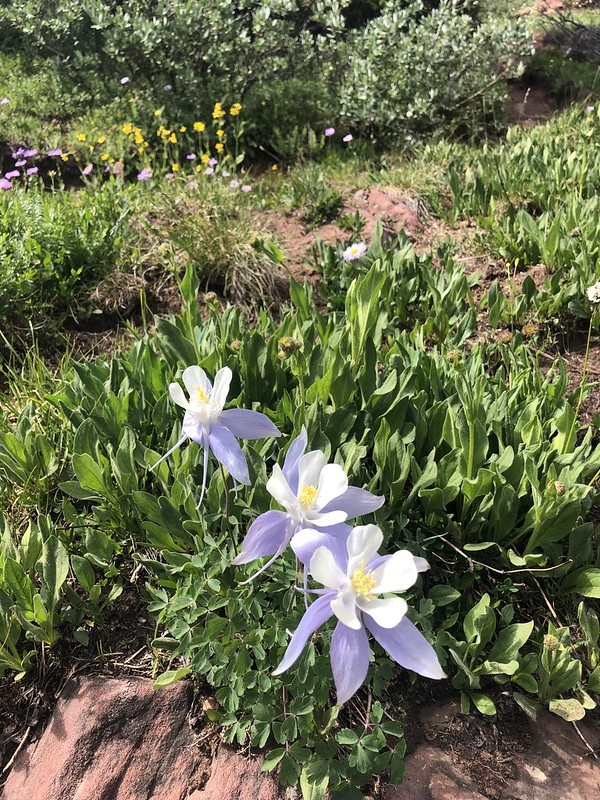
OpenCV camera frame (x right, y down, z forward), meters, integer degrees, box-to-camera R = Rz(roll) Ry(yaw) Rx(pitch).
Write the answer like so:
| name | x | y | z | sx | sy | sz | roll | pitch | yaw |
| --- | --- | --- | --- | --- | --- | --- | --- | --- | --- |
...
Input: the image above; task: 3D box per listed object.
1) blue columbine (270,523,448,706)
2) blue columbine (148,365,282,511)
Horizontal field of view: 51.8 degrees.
| name | x | y | z | sx | sy | sz | roll | pitch | yaw |
| --- | --- | --- | --- | --- | --- | --- | --- | --- | --- |
| blue columbine | 0.096 | 0.320 | 0.996 | 0.241 | 0.227 | 0.259 | -3 | 31 | 7 |
| blue columbine | -0.169 | 0.064 | 1.359 | 0.291 | 0.306 | 0.251 | 3 | 61 | -11 |
